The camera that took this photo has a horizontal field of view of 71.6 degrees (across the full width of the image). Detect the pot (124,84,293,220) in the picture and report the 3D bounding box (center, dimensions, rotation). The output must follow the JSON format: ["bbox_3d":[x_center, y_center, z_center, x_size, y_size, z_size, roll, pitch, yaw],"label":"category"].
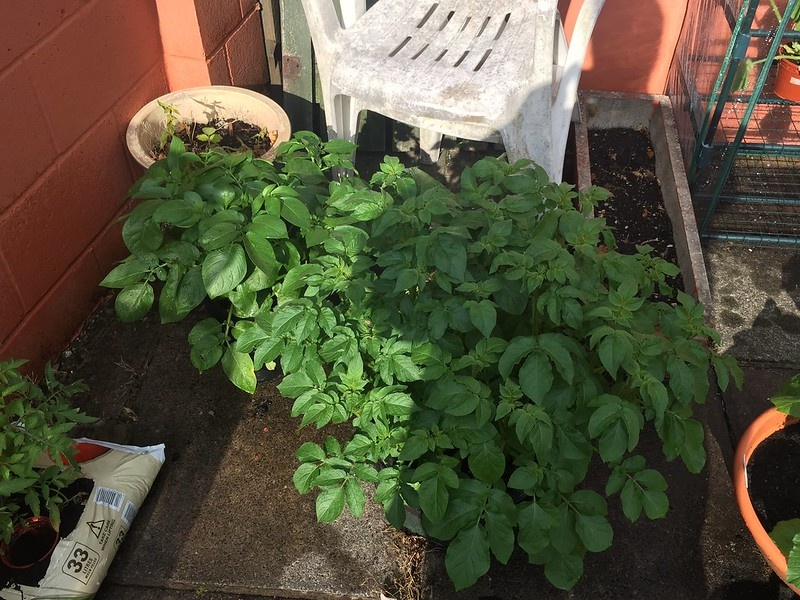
[{"bbox_3d":[-0.844,-0.773,2.505,0.690,0.168,0.462,-7,52,-9],"label":"pot"}]
